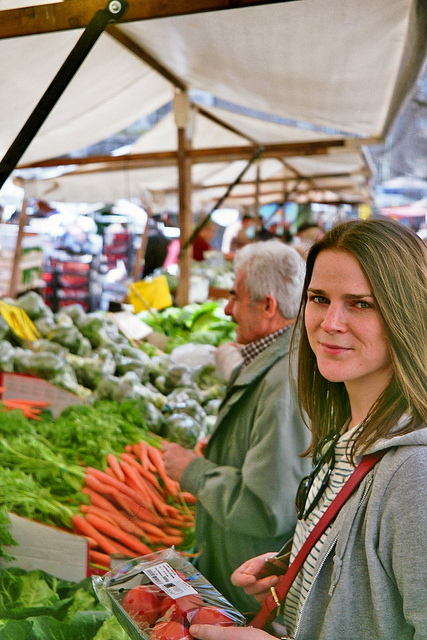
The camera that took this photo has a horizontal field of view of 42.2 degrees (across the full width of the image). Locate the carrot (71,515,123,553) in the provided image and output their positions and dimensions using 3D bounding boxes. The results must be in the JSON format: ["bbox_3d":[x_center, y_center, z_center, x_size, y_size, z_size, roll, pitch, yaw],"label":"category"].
[{"bbox_3d":[-0.442,0.798,2.059,0.192,0.034,0.035,37,-56,-6],"label":"carrot"}]

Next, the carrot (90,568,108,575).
[{"bbox_3d":[-0.424,0.933,2.048,0.059,0.024,0.052,5,-6,-24],"label":"carrot"}]

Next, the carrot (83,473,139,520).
[{"bbox_3d":[-0.401,0.678,2.112,0.221,0.047,0.057,35,-32,11],"label":"carrot"}]

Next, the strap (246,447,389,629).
[{"bbox_3d":[0.209,0.489,1.200,0.077,0.461,0.351,7,-7,-33],"label":"strap"}]

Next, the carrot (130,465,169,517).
[{"bbox_3d":[-0.249,0.669,2.141,0.030,0.219,0.031,-25,-23,-30],"label":"carrot"}]

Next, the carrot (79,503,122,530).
[{"bbox_3d":[-0.431,0.742,2.082,0.131,0.029,0.030,34,21,-4],"label":"carrot"}]

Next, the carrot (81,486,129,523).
[{"bbox_3d":[-0.422,0.698,2.100,0.192,0.031,0.032,36,-18,-5],"label":"carrot"}]

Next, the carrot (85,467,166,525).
[{"bbox_3d":[-0.348,0.681,2.120,0.330,0.046,0.044,32,11,0],"label":"carrot"}]

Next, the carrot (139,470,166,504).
[{"bbox_3d":[-0.236,0.653,2.148,0.022,0.140,0.021,-42,-2,40],"label":"carrot"}]

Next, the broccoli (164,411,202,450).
[{"bbox_3d":[-0.137,0.478,2.449,0.123,0.149,0.066,-4,-46,-36],"label":"broccoli"}]

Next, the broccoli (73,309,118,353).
[{"bbox_3d":[-0.646,0.047,3.031,0.174,0.275,0.112,-11,-30,-32],"label":"broccoli"}]

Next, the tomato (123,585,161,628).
[{"bbox_3d":[-0.154,0.628,1.221,0.068,0.074,0.064,2,12,-1],"label":"tomato"}]

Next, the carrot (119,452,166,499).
[{"bbox_3d":[-0.279,0.614,2.157,0.033,0.199,0.039,-37,-25,-17],"label":"carrot"}]

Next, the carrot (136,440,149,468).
[{"bbox_3d":[-0.285,0.539,2.221,0.027,0.095,0.027,-15,-36,18],"label":"carrot"}]

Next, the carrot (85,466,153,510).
[{"bbox_3d":[-0.371,0.650,2.125,0.267,0.048,0.046,27,9,0],"label":"carrot"}]

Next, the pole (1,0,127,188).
[{"bbox_3d":[-0.704,-1.074,2.664,1.270,0.222,0.141,-52,-16,24],"label":"pole"}]

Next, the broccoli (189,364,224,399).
[{"bbox_3d":[-0.042,0.344,3.123,0.144,0.052,0.141,31,15,-6],"label":"broccoli"}]

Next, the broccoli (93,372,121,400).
[{"bbox_3d":[-0.481,0.303,2.485,0.112,0.101,0.083,4,-6,-12],"label":"broccoli"}]

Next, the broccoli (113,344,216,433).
[{"bbox_3d":[-0.265,0.322,2.721,0.432,0.128,0.420,38,-5,-41],"label":"broccoli"}]

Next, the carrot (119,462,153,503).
[{"bbox_3d":[-0.304,0.634,2.143,0.034,0.170,0.033,-38,-8,-41],"label":"carrot"}]

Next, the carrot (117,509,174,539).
[{"bbox_3d":[-0.258,0.780,2.110,0.175,0.026,0.026,29,17,9],"label":"carrot"}]

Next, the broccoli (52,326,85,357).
[{"bbox_3d":[-0.692,0.097,2.669,0.114,0.145,0.054,23,-26,-25],"label":"broccoli"}]

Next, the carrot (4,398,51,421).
[{"bbox_3d":[-0.799,0.373,2.338,0.144,0.082,0.028,10,-37,-3],"label":"carrot"}]

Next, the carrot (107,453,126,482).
[{"bbox_3d":[-0.379,0.566,2.150,0.043,0.133,0.037,-20,-30,-15],"label":"carrot"}]

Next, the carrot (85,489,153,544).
[{"bbox_3d":[-0.366,0.751,2.098,0.279,0.039,0.031,38,-42,-2],"label":"carrot"}]

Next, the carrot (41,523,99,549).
[{"bbox_3d":[-0.530,0.801,2.045,0.175,0.025,0.024,24,-55,2],"label":"carrot"}]

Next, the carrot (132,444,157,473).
[{"bbox_3d":[-0.278,0.548,2.209,0.045,0.172,0.044,-16,-31,-19],"label":"carrot"}]

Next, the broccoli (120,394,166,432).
[{"bbox_3d":[-0.307,0.408,2.436,0.184,0.104,0.144,33,-22,29],"label":"broccoli"}]

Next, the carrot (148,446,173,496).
[{"bbox_3d":[-0.214,0.573,2.185,0.051,0.245,0.057,-3,-42,-26],"label":"carrot"}]

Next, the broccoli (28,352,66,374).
[{"bbox_3d":[-0.712,0.183,2.377,0.153,0.090,0.098,4,-6,-15],"label":"broccoli"}]

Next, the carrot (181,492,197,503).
[{"bbox_3d":[-0.095,0.690,2.152,0.059,0.037,0.026,1,-6,20],"label":"carrot"}]

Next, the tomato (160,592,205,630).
[{"bbox_3d":[-0.074,0.631,1.194,0.057,0.051,0.055,-1,-20,4],"label":"tomato"}]
